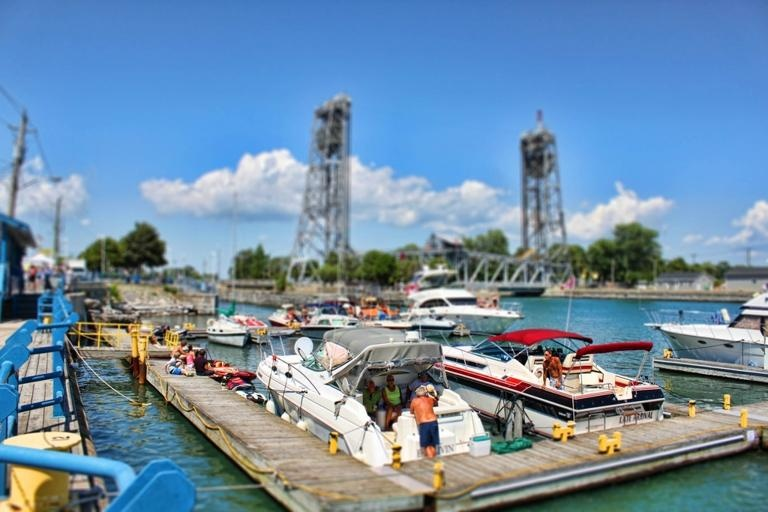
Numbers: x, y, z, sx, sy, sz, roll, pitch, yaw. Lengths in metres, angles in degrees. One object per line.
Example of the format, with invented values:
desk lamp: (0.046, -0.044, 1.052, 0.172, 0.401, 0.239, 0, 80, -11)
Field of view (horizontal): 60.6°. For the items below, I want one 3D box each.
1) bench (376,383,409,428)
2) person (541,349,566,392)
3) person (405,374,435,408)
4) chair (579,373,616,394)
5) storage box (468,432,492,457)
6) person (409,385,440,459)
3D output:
bench: (0.258, 4.357, 18.883, 0.697, 1.202, 0.953, 3, 2, -3)
person: (5.302, 3.515, 20.334, 0.624, 1.172, 1.246, 2, 1, 15)
person: (1.034, 3.871, 18.650, 0.548, 0.410, 1.240, -22, -8, -20)
chair: (6.821, 4.043, 20.604, 0.935, 0.848, 0.712, -1, 2, -23)
storage box: (2.657, 5.073, 17.748, 0.653, 0.630, 0.457, 2, -6, -33)
person: (1.127, 4.570, 17.556, 0.795, 1.620, 0.461, 2, 1, 8)
